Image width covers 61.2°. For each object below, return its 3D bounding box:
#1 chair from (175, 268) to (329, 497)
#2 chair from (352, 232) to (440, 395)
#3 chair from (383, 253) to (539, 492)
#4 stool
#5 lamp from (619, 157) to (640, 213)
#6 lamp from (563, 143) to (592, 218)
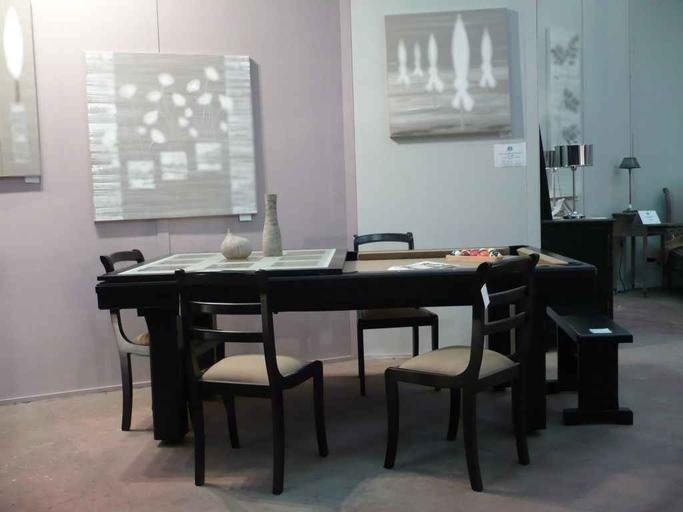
[{"bbox_3d":[-0.498,0.679,3.363,0.780,1.254,0.861,-3,5,-12],"label":"chair"},{"bbox_3d":[0.379,0.368,4.253,0.647,1.051,0.772,-2,5,15],"label":"chair"},{"bbox_3d":[0.802,0.546,3.392,0.726,1.203,1.179,9,18,39],"label":"chair"},{"bbox_3d":[1.655,0.721,4.006,0.427,0.586,0.917,-2,6,6],"label":"stool"},{"bbox_3d":[3.429,-0.869,6.894,0.211,0.616,0.443,5,15,26],"label":"lamp"},{"bbox_3d":[2.468,-0.776,6.093,0.314,0.753,0.239,8,15,39],"label":"lamp"}]
